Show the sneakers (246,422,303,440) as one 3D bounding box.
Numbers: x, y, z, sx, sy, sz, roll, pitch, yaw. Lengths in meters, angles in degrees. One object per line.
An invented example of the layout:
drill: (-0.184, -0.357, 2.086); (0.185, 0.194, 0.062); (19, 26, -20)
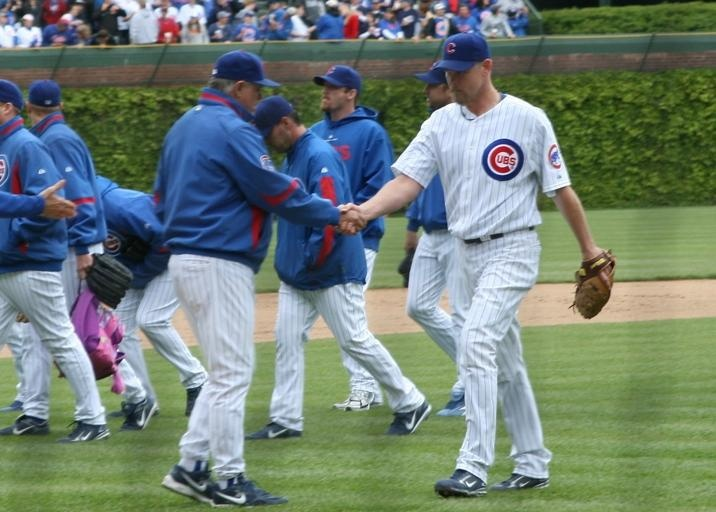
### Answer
sneakers: (-0.887, 1.811, 15.829); (0.665, 0.181, 0.195); (1, -5, 2)

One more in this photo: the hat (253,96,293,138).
hat: (-0.927, -1.471, 15.800); (0.476, 0.251, 0.320); (-35, 32, -5)

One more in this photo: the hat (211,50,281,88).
hat: (-1.108, -1.806, 14.812); (0.623, 0.246, 0.338); (2, 9, -14)

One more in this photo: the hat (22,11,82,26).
hat: (-6.041, -4.399, 28.913); (0.672, 0.197, 0.481); (0, -7, -40)

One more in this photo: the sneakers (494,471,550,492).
sneakers: (1.572, 2.184, 14.786); (0.565, 0.159, 0.182); (2, -7, -3)

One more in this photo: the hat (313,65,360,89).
hat: (-0.226, -1.921, 16.662); (0.447, 0.185, 0.278); (16, 3, -15)

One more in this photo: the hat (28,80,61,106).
hat: (-3.332, -1.697, 16.022); (0.258, 0.173, 0.341); (0, 19, -19)

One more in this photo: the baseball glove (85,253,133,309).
baseball glove: (-2.645, 0.247, 15.813); (0.439, 0.333, 0.406); (38, 29, -20)

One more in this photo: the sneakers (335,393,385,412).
sneakers: (0.017, 1.576, 16.519); (0.408, 0.128, 0.218); (3, -5, -35)

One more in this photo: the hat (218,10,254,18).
hat: (-2.377, -4.579, 29.026); (0.247, 0.190, 0.777); (15, 15, 41)

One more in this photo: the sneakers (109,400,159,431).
sneakers: (-2.356, 1.660, 16.072); (0.582, 0.204, 0.177); (-21, 21, -2)

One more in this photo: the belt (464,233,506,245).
belt: (1.215, -0.155, 14.769); (0.209, 0.053, 0.179); (-15, -8, 37)

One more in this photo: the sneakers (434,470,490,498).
sneakers: (0.994, 2.172, 14.510); (0.545, 0.203, 0.207); (3, -8, -11)
